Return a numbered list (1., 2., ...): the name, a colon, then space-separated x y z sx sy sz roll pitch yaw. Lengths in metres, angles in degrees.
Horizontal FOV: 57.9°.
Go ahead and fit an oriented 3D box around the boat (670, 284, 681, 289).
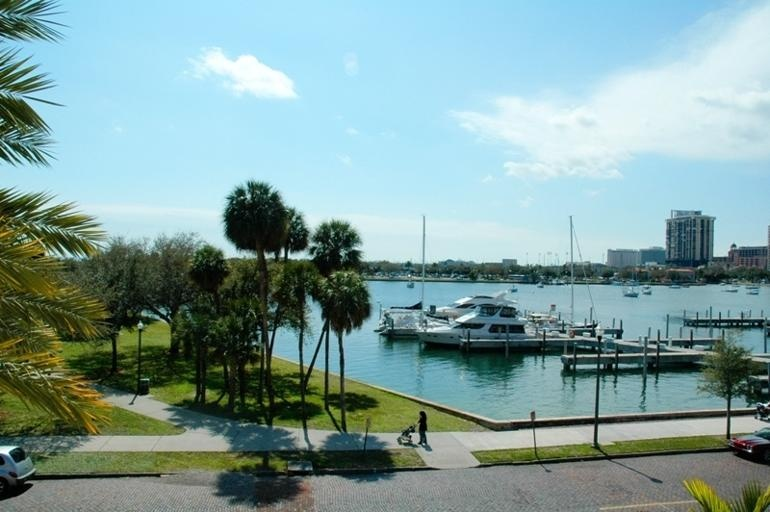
1. boat: 109.542 10.853 263.772 2.420 1.486 4.287 -2 -4 34
